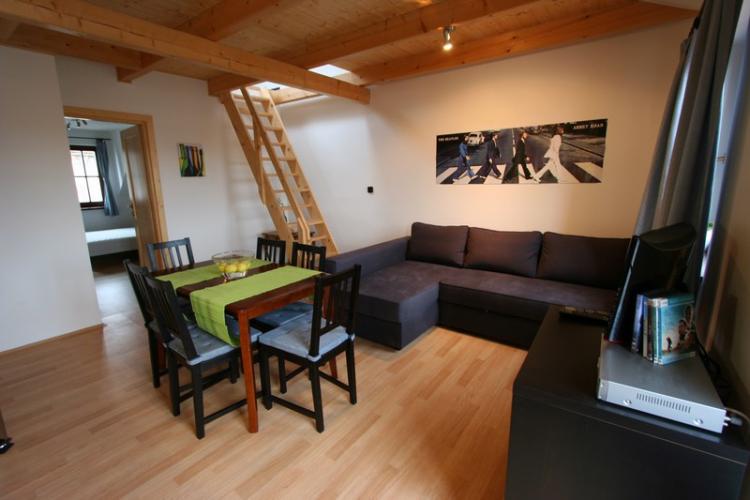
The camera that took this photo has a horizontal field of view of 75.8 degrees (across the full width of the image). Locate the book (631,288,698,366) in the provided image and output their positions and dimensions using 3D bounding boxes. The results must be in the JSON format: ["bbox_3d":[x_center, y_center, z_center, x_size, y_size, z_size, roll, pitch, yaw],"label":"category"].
[{"bbox_3d":[1.806,0.495,3.031,0.393,0.377,0.232,-11,14,-37],"label":"book"}]

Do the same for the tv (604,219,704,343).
[{"bbox_3d":[1.928,0.228,3.296,0.924,0.675,0.144,-10,21,-36],"label":"tv"}]

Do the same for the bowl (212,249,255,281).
[{"bbox_3d":[-1.321,0.140,4.488,0.306,0.198,0.308,-1,0,0],"label":"bowl"}]

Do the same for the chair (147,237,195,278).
[{"bbox_3d":[-2.264,0.073,5.298,0.338,0.521,0.306,14,24,37],"label":"chair"}]
